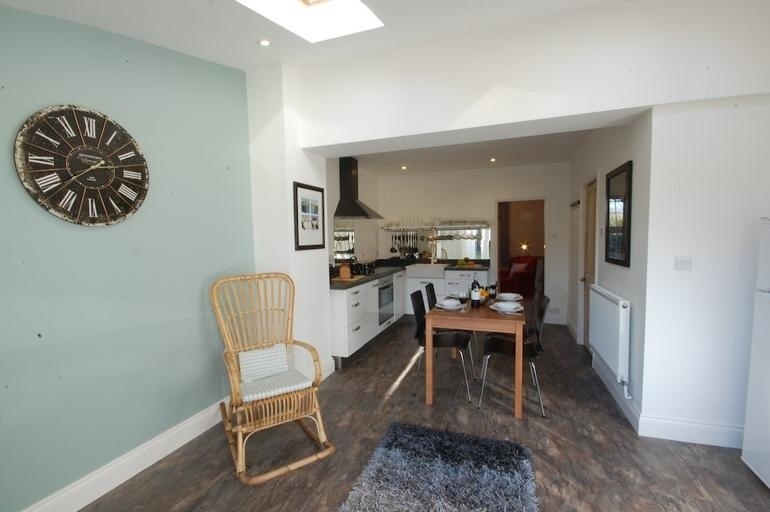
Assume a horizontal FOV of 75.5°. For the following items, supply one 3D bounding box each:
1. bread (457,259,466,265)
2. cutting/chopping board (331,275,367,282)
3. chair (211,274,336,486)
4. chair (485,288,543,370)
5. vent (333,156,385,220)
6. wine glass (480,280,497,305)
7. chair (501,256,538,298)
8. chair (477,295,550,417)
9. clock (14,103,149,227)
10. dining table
[{"bbox_3d":[1.221,0.090,8.028,0.103,0.089,0.084,-9,18,22],"label":"bread"},{"bbox_3d":[-0.470,0.280,6.311,0.462,0.053,0.403,-2,4,3],"label":"cutting/chopping board"},{"bbox_3d":[-1.065,1.009,4.561,0.878,1.544,1.331,-5,18,-20],"label":"chair"},{"bbox_3d":[1.322,0.880,5.174,0.614,1.052,0.617,6,12,16],"label":"chair"},{"bbox_3d":[-0.402,-0.935,7.084,0.456,0.930,0.931,-1,-6,6],"label":"vent"},{"bbox_3d":[1.159,0.418,5.592,0.201,0.184,0.246,-1,-3,3],"label":"wine glass"},{"bbox_3d":[2.634,0.425,10.087,0.728,0.910,0.685,3,1,-30],"label":"chair"},{"bbox_3d":[1.327,0.966,5.164,0.780,1.141,0.776,2,6,-7],"label":"chair"},{"bbox_3d":[-2.417,-0.701,4.038,0.084,1.054,0.937,-25,-6,37],"label":"clock"},{"bbox_3d":[0.916,0.950,5.088,0.949,0.987,1.009,0,2,12],"label":"dining table"}]
